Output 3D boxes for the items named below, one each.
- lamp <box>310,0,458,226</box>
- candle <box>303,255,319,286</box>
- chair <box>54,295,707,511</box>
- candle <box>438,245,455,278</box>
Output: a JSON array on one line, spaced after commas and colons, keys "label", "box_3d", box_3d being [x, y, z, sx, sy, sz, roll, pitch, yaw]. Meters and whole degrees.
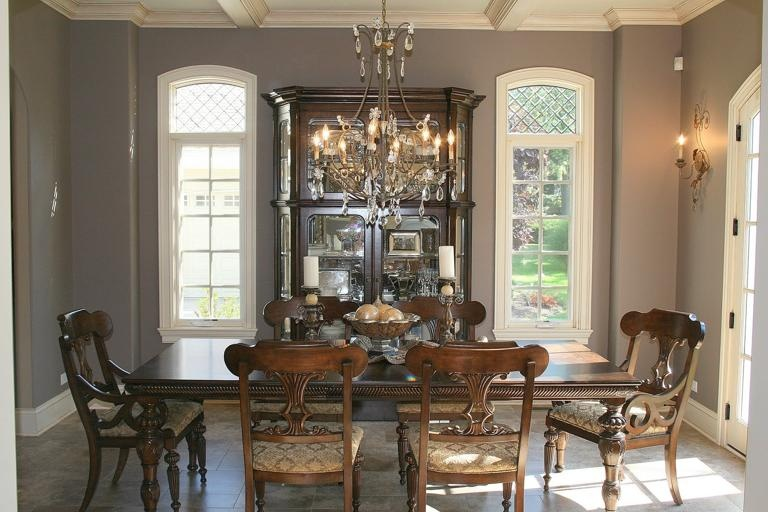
[{"label": "lamp", "box_3d": [-0.044, -1.261, 5.169, 1.277, 2.111, 1.867, 0, 5, 6]}, {"label": "candle", "box_3d": [-0.520, 0.120, 4.522, 0.080, 0.221, 0.044, -2, 6, -19]}, {"label": "chair", "box_3d": [0.001, 1.102, 4.471, 4.495, 1.411, 1.189, 0, 5, -1]}, {"label": "candle", "box_3d": [0.441, 0.050, 4.541, 0.095, 0.229, 0.123, 0, 5, -4]}]
